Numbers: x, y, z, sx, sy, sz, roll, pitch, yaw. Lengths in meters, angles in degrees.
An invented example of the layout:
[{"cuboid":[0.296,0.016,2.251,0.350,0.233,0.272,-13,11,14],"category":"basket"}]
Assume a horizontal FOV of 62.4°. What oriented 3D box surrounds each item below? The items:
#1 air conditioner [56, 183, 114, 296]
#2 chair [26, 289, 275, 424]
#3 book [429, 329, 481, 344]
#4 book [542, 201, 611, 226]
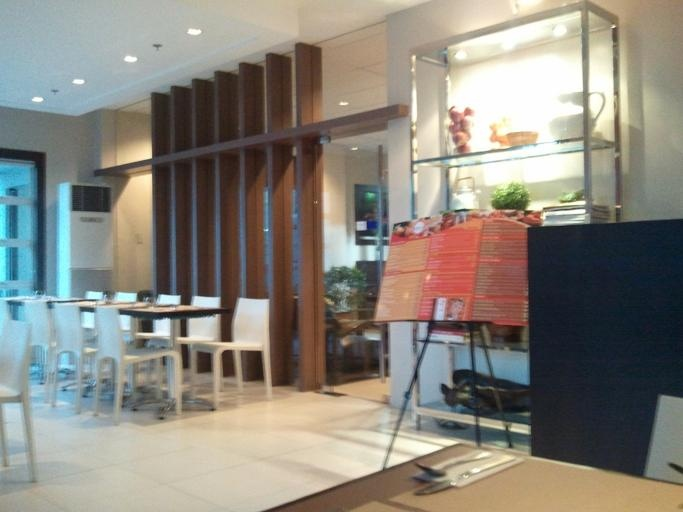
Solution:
[{"cuboid":[-4.017,-0.260,8.853,0.779,1.750,0.378,-1,1,-26],"category":"air conditioner"},{"cuboid":[-1.915,1.003,6.127,1.637,1.057,1.706,-1,1,-43],"category":"chair"},{"cuboid":[0.811,0.600,4.210,0.274,0.103,0.178,0,1,10],"category":"book"},{"cuboid":[1.725,-0.316,4.065,0.508,0.159,0.242,0,1,9],"category":"book"}]
